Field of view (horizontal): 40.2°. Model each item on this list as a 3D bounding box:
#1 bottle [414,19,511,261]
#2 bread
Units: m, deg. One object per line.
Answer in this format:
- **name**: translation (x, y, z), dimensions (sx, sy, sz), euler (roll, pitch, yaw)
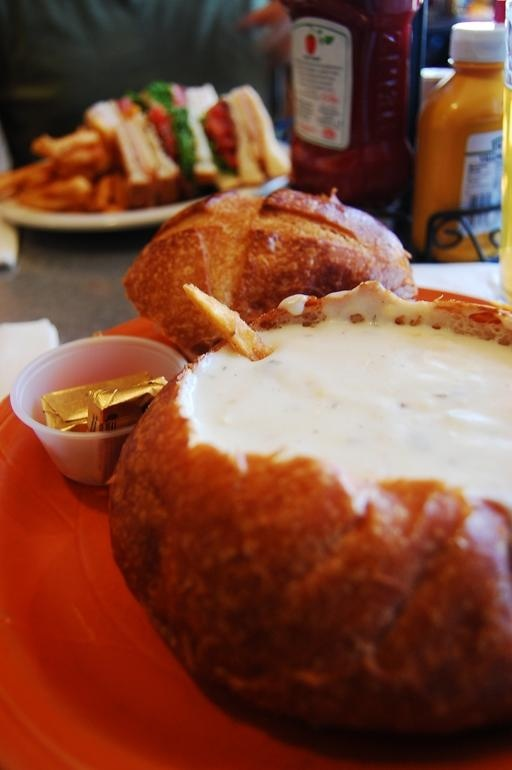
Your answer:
- **bottle**: translation (0.264, -0.297, 0.889), dimensions (0.126, 0.289, 0.061), euler (8, 35, 14)
- **bread**: translation (0.016, -0.083, 0.643), dimensions (0.210, 0.075, 0.153), euler (-5, 43, 11)
